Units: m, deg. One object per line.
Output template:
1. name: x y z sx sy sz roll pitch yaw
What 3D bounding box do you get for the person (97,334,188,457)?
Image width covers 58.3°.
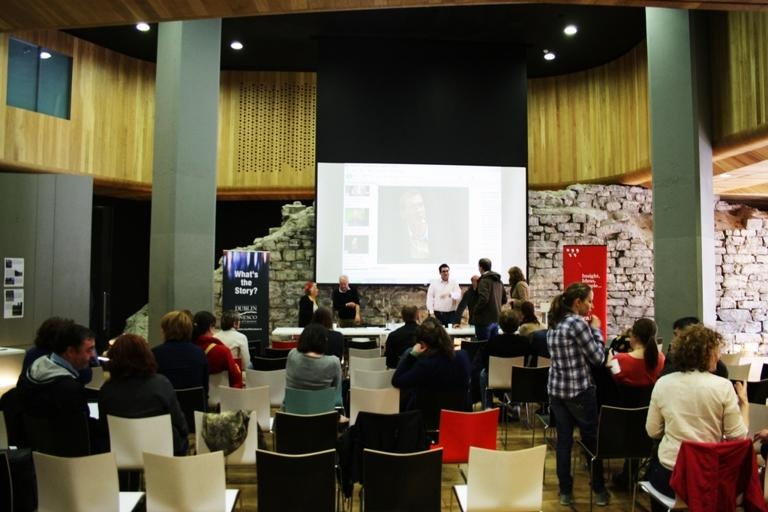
1. person: -2.563 1.542 7.547 0.931 1.459 0.897 1 -8 -21

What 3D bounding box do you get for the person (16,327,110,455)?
1. person: -3.320 1.404 7.385 0.731 1.342 0.734 -1 19 -3

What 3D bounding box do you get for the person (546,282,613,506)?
1. person: 2.165 1.537 7.778 0.605 2.466 0.482 -1 0 19

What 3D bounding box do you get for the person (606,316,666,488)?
1. person: 2.955 1.580 8.142 0.570 1.767 0.582 -2 18 2

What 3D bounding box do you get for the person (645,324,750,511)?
1. person: 3.067 1.529 6.794 0.883 1.695 0.350 0 0 20
